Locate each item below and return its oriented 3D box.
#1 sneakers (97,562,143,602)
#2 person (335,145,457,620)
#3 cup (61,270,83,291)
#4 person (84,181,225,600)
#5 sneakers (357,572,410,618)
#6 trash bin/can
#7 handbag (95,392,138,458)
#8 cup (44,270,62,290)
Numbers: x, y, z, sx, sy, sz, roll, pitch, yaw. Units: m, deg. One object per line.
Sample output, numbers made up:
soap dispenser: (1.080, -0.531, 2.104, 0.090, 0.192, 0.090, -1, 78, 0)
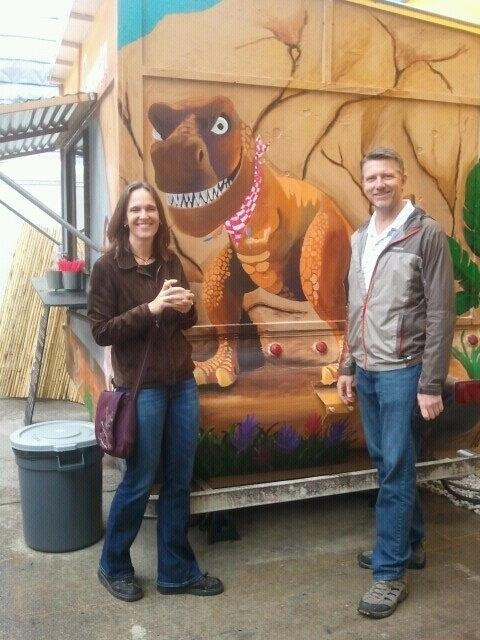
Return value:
sneakers: (-0.515, 1.094, 2.893, 0.084, 0.125, 0.229, 7, -4, -38)
person: (0.622, 0.225, 2.966, 0.372, 1.923, 0.608, -1, 3, -26)
cup: (-1.360, -0.306, 5.391, 0.119, 0.174, 0.129, 2, 1, 0)
person: (-0.358, 0.305, 2.818, 0.517, 1.733, 0.375, 0, 3, -5)
sneakers: (0.606, 1.113, 2.833, 0.084, 0.144, 0.246, 8, 7, 30)
trash bin/can: (-0.853, 0.765, 3.397, 0.461, 0.696, 0.501, 2, 9, 11)
handbag: (-0.489, 0.415, 2.706, 0.071, 0.262, 0.199, -1, 3, -29)
cup: (-1.546, -0.321, 5.561, 0.101, 0.176, 0.135, -1, 0, -1)
